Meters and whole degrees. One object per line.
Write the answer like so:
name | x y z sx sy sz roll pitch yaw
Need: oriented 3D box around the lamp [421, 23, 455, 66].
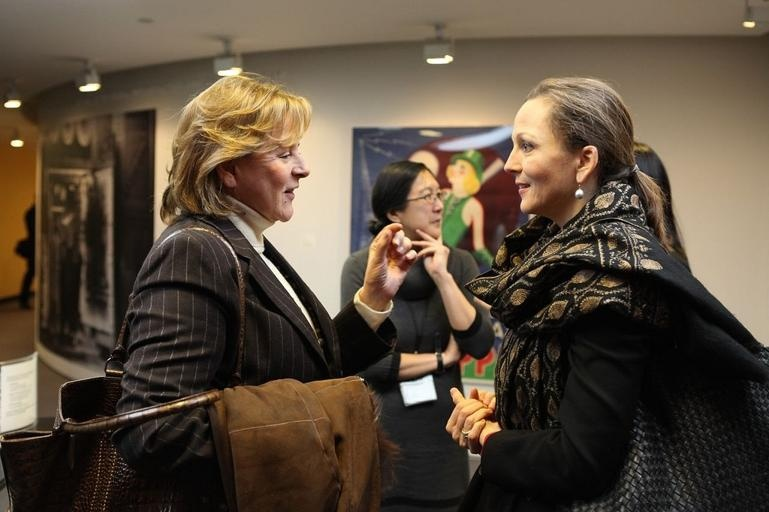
lamp | 0.310 -1.226 3.828 0.162 0.182 0.162 -1 30 2

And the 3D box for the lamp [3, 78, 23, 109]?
lamp | -2.142 -0.926 3.878 0.094 0.145 0.086 -2 -2 42

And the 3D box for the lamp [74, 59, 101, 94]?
lamp | -1.749 -1.058 3.959 0.149 0.141 0.146 -1 -2 -4

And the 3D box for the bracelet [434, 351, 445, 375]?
bracelet | 0.271 0.519 3.313 0.028 0.080 0.057 2 1 -6
